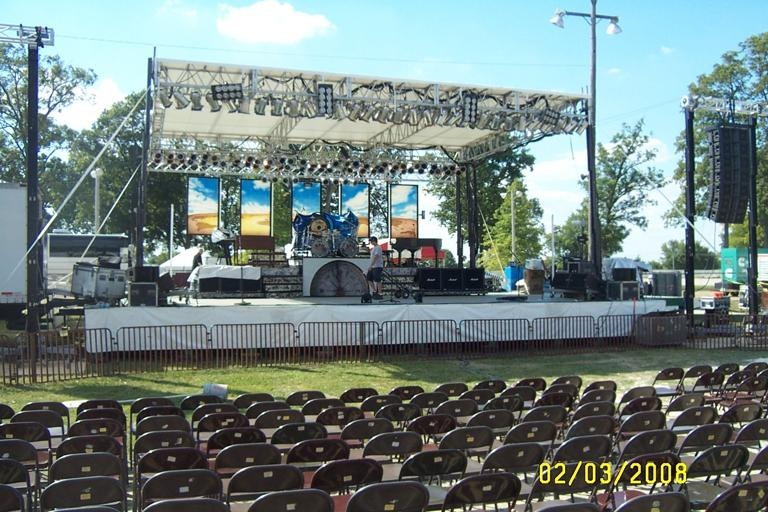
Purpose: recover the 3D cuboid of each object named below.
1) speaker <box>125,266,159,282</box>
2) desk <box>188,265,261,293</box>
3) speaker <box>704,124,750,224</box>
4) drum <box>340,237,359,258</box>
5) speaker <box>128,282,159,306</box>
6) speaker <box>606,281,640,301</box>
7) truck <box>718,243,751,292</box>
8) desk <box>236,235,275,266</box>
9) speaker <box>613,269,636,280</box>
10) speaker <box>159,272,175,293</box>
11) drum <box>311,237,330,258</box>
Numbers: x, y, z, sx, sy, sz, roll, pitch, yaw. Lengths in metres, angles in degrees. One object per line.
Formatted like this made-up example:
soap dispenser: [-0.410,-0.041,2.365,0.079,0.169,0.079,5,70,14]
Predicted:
speaker: [-7.617,0.588,33.974,0.732,0.502,0.615,0,-1,-3]
desk: [-5.717,0.874,38.702,2.491,0.983,0.764,0,-1,-8]
speaker: [11.701,-2.849,36.422,1.351,3.431,0.654,0,0,12]
drum: [-1.355,-0.289,39.404,0.658,0.702,0.382,0,-1,-21]
speaker: [-7.609,1.210,33.589,0.847,0.754,0.352,0,-1,-24]
speaker: [8.454,1.260,37.891,0.773,0.579,0.777,1,-4,-9]
truck: [18.287,0.710,55.998,1.247,2.264,3.199,0,-1,16]
desk: [-4.916,-0.194,41.168,1.314,1.050,4.140,0,-1,-6]
speaker: [8.768,0.669,39.225,0.787,0.389,0.455,0,-1,15]
speaker: [-7.296,0.891,34.947,0.534,0.508,0.895,13,-9,-31]
drum: [-2.416,-0.294,39.825,0.674,0.672,1.180,0,-1,-2]
